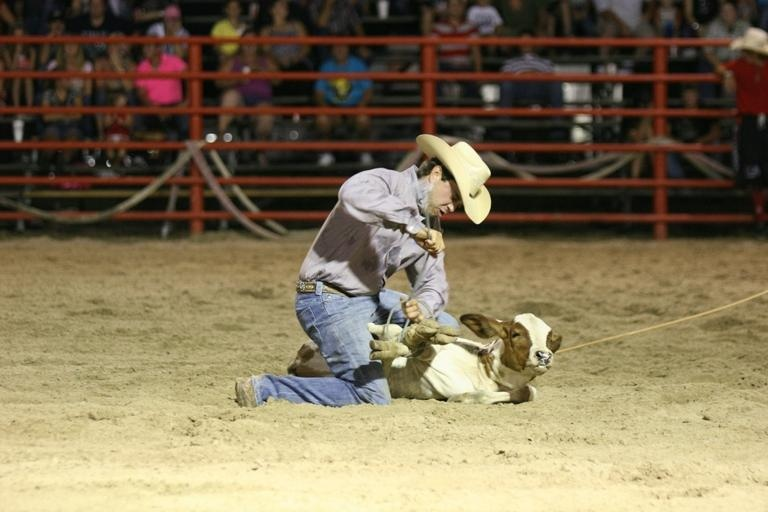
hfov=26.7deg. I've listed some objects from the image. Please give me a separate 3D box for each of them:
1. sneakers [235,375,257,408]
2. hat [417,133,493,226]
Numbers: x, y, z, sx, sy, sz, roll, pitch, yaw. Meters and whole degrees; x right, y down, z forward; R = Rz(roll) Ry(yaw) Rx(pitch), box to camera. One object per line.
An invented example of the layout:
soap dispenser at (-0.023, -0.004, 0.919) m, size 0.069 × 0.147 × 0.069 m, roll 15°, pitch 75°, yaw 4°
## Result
sneakers at (-1.175, 1.183, 13.886) m, size 0.167 × 0.235 × 0.195 m, roll 3°, pitch -24°, yaw -32°
hat at (0.599, -0.645, 13.946) m, size 0.631 × 0.743 × 0.425 m, roll 1°, pitch 5°, yaw 1°
